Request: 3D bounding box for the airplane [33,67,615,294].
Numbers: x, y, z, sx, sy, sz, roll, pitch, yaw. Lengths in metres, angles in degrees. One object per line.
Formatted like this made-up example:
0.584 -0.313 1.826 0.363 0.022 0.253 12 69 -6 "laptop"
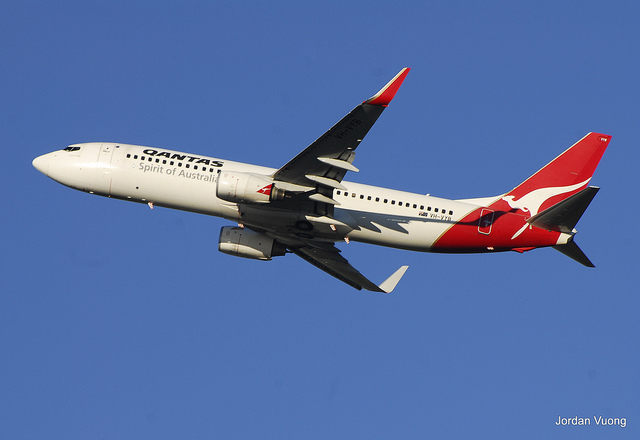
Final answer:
-0.973 -2.264 58.693 29.725 6.637 24.750 8 -19 7 "airplane"
